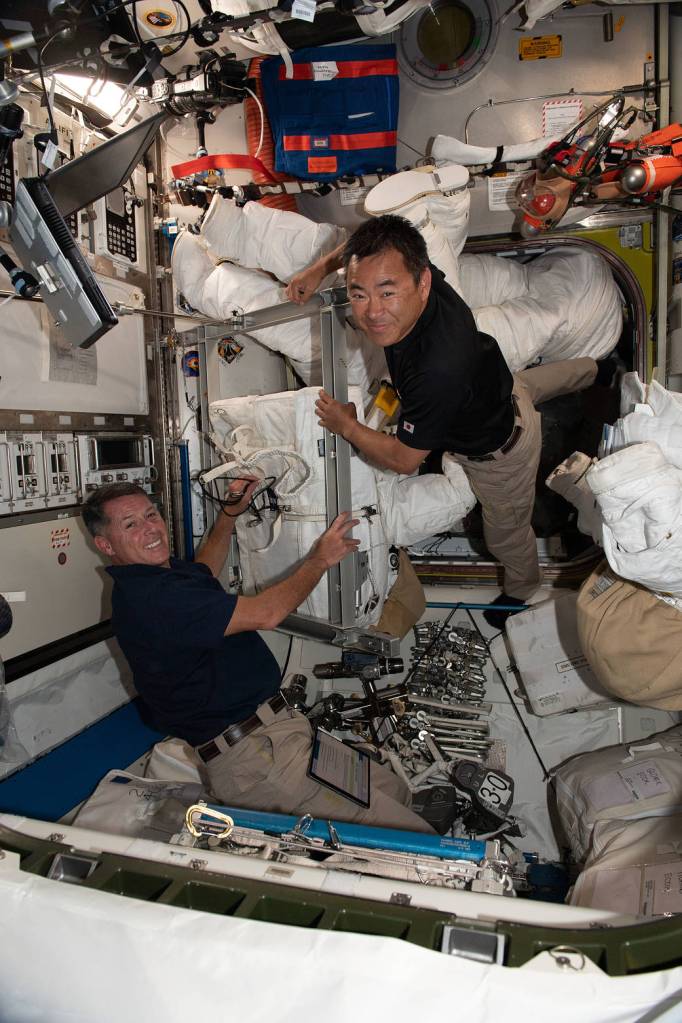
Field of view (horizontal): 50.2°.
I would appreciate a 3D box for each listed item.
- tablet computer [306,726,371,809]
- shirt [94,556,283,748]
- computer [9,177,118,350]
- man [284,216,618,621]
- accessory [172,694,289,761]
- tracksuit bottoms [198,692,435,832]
[{"bbox_3d":[-0.015,1.010,2.848,0.346,0.251,0.037,36,-53,-29],"label":"tablet computer"},{"bbox_3d":[-0.568,0.560,2.892,0.595,0.743,0.653,1,2,20],"label":"shirt"},{"bbox_3d":[-0.932,-0.795,2.359,0.497,0.505,0.199,1,3,32],"label":"computer"},{"bbox_3d":[0.500,-0.463,3.369,1.205,0.974,1.999,-24,-22,11],"label":"man"},{"bbox_3d":[-0.401,0.865,2.885,0.279,0.069,0.278,-30,-6,7],"label":"accessory"},{"bbox_3d":[-0.119,1.066,2.862,0.537,0.506,0.763,-18,-36,39],"label":"tracksuit bottoms"}]
